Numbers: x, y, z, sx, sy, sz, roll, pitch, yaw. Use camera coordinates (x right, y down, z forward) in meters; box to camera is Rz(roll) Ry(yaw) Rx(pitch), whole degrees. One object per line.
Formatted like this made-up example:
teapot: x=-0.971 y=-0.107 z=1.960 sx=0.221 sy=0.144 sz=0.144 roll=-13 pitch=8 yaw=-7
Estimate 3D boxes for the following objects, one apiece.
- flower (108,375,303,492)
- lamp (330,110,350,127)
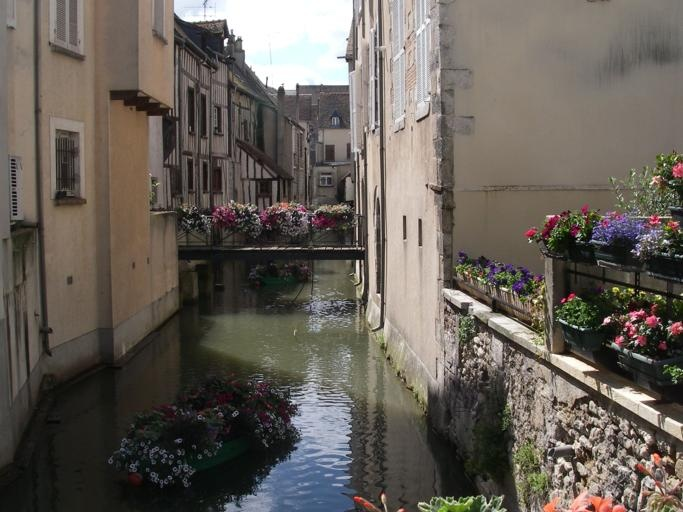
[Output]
flower: x=-1.849 y=2.306 z=9.744 sx=1.210 sy=0.838 sz=1.960 roll=11 pitch=18 yaw=7
lamp: x=-0.170 y=-10.514 z=53.650 sx=1.393 sy=1.353 sz=1.971 roll=1 pitch=6 yaw=-6
